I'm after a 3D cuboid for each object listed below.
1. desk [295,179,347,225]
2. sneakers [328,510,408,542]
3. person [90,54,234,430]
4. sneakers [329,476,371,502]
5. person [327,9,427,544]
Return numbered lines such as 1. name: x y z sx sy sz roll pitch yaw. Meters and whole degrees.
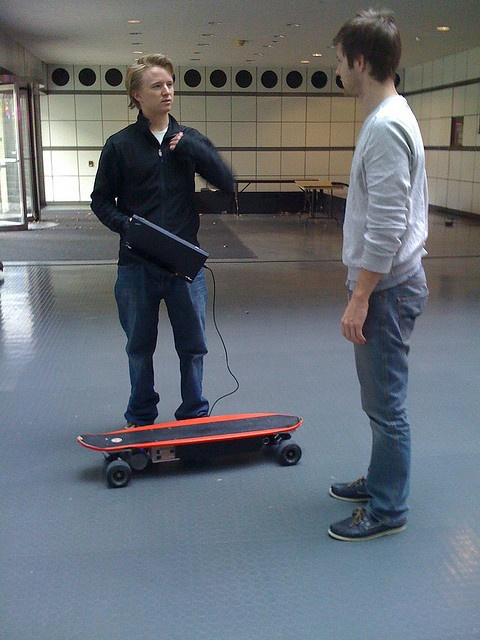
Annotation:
1. desk: 2.028 -2.920 11.761 0.645 0.934 2.800 -2 19 15
2. sneakers: 0.340 0.576 1.458 0.229 0.094 0.081 -2 15 -4
3. person: -0.304 -0.259 2.019 0.544 1.474 0.323 0 12 -2
4. sneakers: 0.351 0.535 1.672 0.158 0.066 0.056 5 6 8
5. person: 0.353 -0.079 1.381 0.268 1.378 0.298 4 12 19
